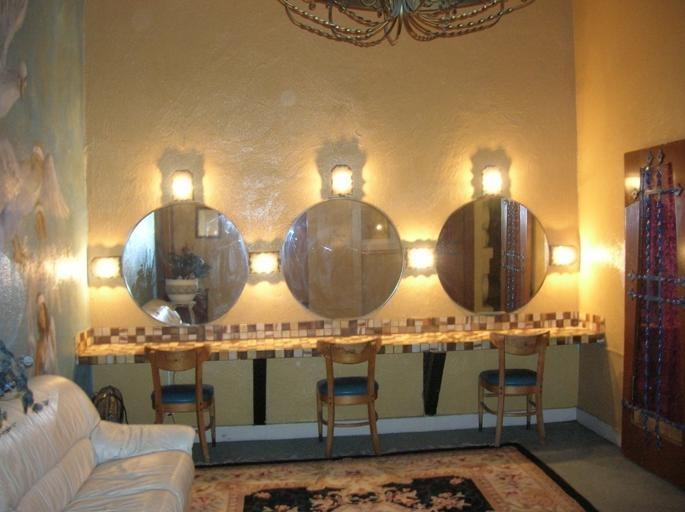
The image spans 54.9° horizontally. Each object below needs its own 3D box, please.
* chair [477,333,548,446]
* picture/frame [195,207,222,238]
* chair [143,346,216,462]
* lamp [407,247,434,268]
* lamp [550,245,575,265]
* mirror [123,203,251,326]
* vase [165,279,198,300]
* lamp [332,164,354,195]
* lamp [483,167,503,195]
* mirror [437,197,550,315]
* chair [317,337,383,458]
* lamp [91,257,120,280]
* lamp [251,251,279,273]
[{"bbox_3d":[1.435,1.092,5.607,0.588,0.923,0.611,-2,1,12],"label":"chair"},{"bbox_3d":[-1.164,-0.293,5.664,0.223,0.289,0.028,-2,5,-4],"label":"picture/frame"},{"bbox_3d":[-1.307,1.166,5.336,0.521,0.940,0.627,0,4,9],"label":"chair"},{"bbox_3d":[0.686,0.021,5.820,0.245,0.175,0.046,-2,1,-14],"label":"lamp"},{"bbox_3d":[1.992,-0.003,5.944,0.242,0.181,0.068,-2,1,-13],"label":"lamp"},{"bbox_3d":[-1.385,0.049,5.648,0.911,1.026,0.044,-2,3,-7],"label":"mirror"},{"bbox_3d":[-1.387,0.300,5.654,0.177,0.126,0.187,1,-4,21],"label":"vase"},{"bbox_3d":[-0.012,-0.656,5.723,0.173,0.253,0.068,-2,1,-13],"label":"lamp"},{"bbox_3d":[1.321,-0.676,5.853,0.209,0.211,0.053,1,6,0],"label":"lamp"},{"bbox_3d":[1.332,-0.016,5.896,1.032,1.035,0.045,-2,1,-6],"label":"mirror"},{"bbox_3d":[0.036,1.135,5.457,0.522,0.952,0.727,-2,1,-2],"label":"chair"},{"bbox_3d":[-1.989,0.097,5.554,0.189,0.189,0.060,-4,7,-16],"label":"lamp"},{"bbox_3d":[-0.667,0.049,5.686,0.209,0.178,0.047,-2,2,-8],"label":"lamp"}]
